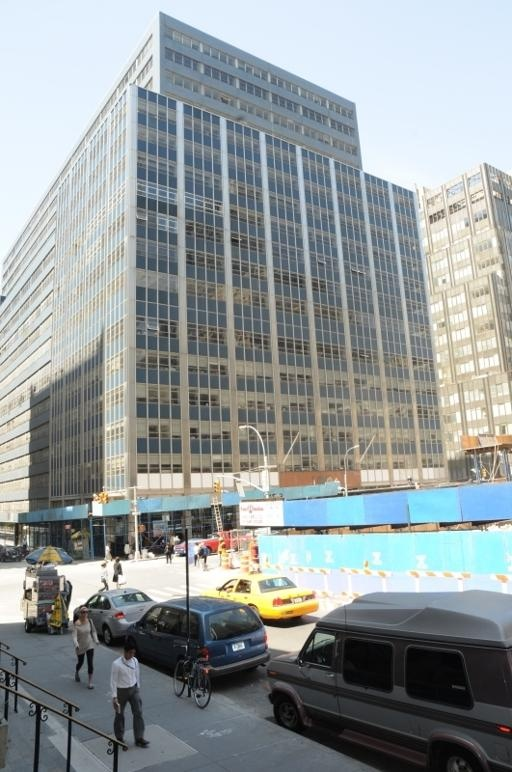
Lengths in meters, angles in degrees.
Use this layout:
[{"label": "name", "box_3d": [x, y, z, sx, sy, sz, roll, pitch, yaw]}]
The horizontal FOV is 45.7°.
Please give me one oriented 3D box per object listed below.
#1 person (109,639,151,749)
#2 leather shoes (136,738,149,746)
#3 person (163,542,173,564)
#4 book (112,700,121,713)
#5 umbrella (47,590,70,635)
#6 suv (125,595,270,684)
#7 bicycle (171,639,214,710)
[{"label": "person", "box_3d": [-1.712, 4.121, 8.167, 0.440, 1.183, 0.871, -1, -12, -15]}, {"label": "leather shoes", "box_3d": [-1.448, 4.592, 7.807, 0.182, 0.083, 0.064, -6, -8, 26]}, {"label": "person", "box_3d": [-5.605, 10.775, 39.032, 0.394, 1.260, 1.465, -3, -12, -7]}, {"label": "book", "box_3d": [-1.800, 4.150, 7.864, 0.072, 0.186, 0.155, -3, -12, -7]}, {"label": "umbrella", "box_3d": [-5.443, 6.218, 16.593, 0.504, 1.143, 1.188, 0, -12, -20]}, {"label": "suv", "box_3d": [-1.271, 4.636, 11.739, 1.564, 1.092, 2.602, 14, -20, -38]}, {"label": "bicycle", "box_3d": [-1.056, 4.804, 9.953, 0.515, 0.671, 1.080, 7, -10, -30]}]
